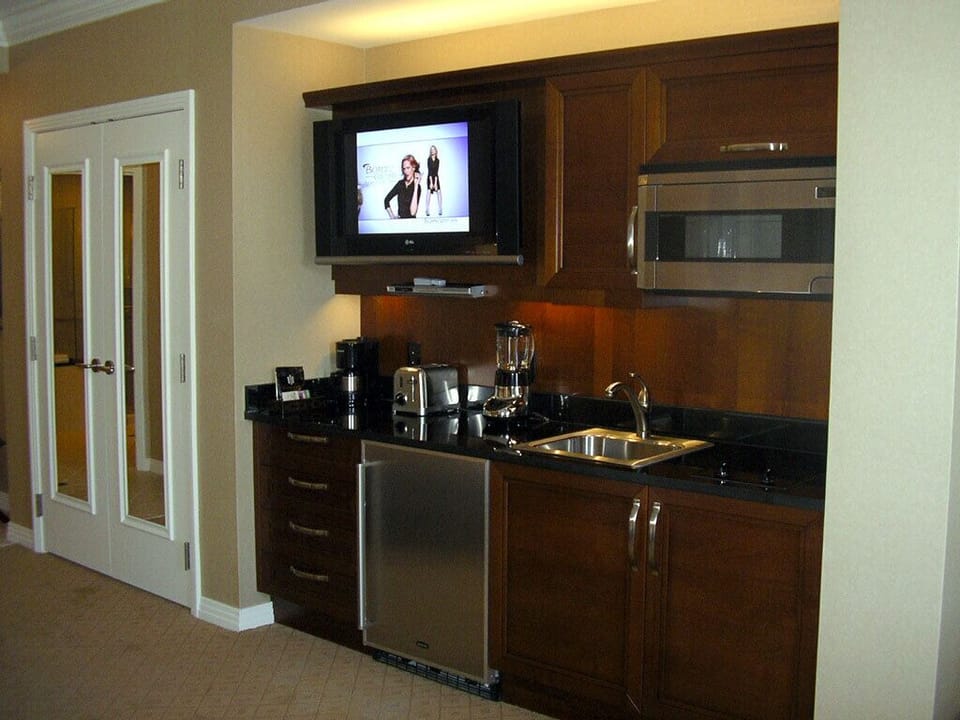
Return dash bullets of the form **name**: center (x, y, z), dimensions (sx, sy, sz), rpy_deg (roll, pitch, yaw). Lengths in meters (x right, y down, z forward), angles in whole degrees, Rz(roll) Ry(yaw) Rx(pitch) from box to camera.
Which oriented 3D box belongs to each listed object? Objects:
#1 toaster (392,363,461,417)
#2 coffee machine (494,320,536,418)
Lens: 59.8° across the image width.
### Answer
- **toaster**: center (-0.260, 0.147, 4.080), dimensions (0.198, 0.222, 0.358), rpy_deg (3, 2, 30)
- **coffee machine**: center (0.164, 0.015, 3.857), dimensions (0.182, 0.409, 0.316), rpy_deg (0, 10, 4)
